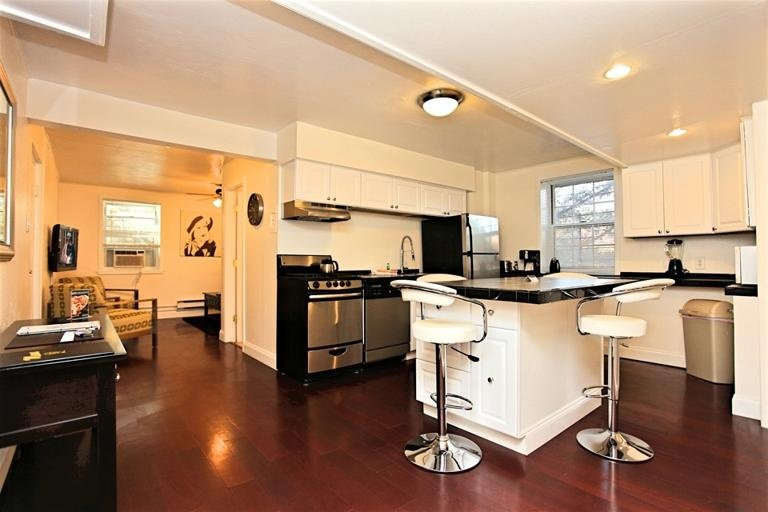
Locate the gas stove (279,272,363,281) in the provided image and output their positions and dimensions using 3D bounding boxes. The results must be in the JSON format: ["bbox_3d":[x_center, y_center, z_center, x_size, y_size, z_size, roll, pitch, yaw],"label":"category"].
[{"bbox_3d":[-0.725,0.220,5.622,0.694,0.078,0.633,-3,4,-38],"label":"gas stove"}]

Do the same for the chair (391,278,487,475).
[{"bbox_3d":[0.463,0.898,3.992,0.700,1.450,0.670,2,6,19],"label":"chair"}]

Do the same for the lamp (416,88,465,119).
[{"bbox_3d":[0.544,-1.484,4.807,0.464,0.204,0.345,1,4,7],"label":"lamp"}]

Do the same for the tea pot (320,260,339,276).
[{"bbox_3d":[-0.627,0.121,5.717,0.138,0.176,0.240,-7,-11,44],"label":"tea pot"}]

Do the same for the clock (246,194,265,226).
[{"bbox_3d":[-1.604,-0.580,6.171,0.059,0.412,0.462,-4,6,-33],"label":"clock"}]

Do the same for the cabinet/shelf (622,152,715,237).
[{"bbox_3d":[3.332,-0.723,5.736,0.563,0.877,1.045,4,-5,-39],"label":"cabinet/shelf"}]

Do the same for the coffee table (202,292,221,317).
[{"bbox_3d":[-3.056,0.858,8.808,0.190,0.287,0.538,-2,2,-38],"label":"coffee table"}]

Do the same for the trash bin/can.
[{"bbox_3d":[3.415,0.881,5.237,0.227,0.844,0.502,-2,6,-20],"label":"trash bin/can"}]

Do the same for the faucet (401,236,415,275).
[{"bbox_3d":[0.339,-0.036,6.820,0.151,0.504,0.379,3,6,31],"label":"faucet"}]

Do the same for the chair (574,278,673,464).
[{"bbox_3d":[1.993,0.866,4.183,0.682,1.402,0.934,2,6,22],"label":"chair"}]

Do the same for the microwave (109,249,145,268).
[{"bbox_3d":[-4.491,0.029,8.709,0.613,0.341,0.309,0,4,-33],"label":"microwave"}]
